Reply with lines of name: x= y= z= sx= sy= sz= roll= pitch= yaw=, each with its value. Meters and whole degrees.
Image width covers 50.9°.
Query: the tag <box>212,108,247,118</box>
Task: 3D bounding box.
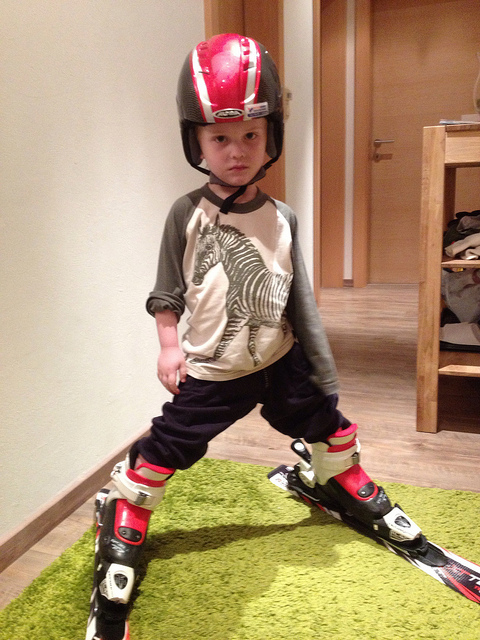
tag: x=-0.016 y=-0.297 z=0.723 sx=0.048 sy=0.012 sz=0.007 roll=-2 pitch=9 yaw=0

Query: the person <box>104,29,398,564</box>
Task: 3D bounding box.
person: x=-0.006 y=-0.020 z=0.887 sx=0.525 sy=0.871 sz=0.243 roll=-6 pitch=9 yaw=-17

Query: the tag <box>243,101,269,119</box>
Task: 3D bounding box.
tag: x=0.025 y=-0.307 z=0.737 sx=0.048 sy=0.026 sz=0.010 roll=-8 pitch=10 yaw=-33
